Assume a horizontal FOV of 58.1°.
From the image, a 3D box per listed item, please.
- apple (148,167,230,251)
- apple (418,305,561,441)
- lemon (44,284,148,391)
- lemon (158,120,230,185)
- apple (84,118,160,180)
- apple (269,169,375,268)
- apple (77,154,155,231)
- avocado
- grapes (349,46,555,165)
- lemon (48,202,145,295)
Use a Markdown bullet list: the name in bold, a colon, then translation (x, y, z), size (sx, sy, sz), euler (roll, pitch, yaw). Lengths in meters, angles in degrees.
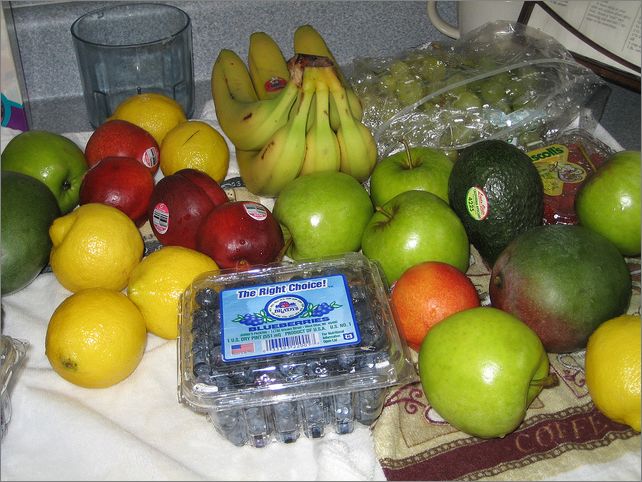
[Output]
- **apple**: translation (-0.258, -0.064, 1.136), size (0.133, 0.137, 0.154), euler (7, 62, -28)
- **apple**: translation (0.232, 0.191, 0.899), size (0.212, 0.193, 0.193), euler (21, 50, 18)
- **lemon**: translation (-0.360, 0.162, 1.007), size (0.145, 0.171, 0.162), euler (9, 53, 12)
- **lemon**: translation (-0.263, -0.190, 1.246), size (0.122, 0.130, 0.121), euler (-4, 10, 4)
- **apple**: translation (-0.410, -0.196, 1.243), size (0.130, 0.117, 0.110), euler (26, 89, 4)
- **apple**: translation (0.007, -0.050, 1.161), size (0.168, 0.169, 0.168), euler (-12, 39, 7)
- **apple**: translation (-0.407, -0.104, 1.174), size (0.153, 0.170, 0.167), euler (-9, 88, -21)
- **avocado**: translation (0.331, -0.092, 1.097), size (0.133, 0.254, 0.170), euler (-28, 39, -16)
- **grapes**: translation (0.298, -0.332, 1.343), size (0.384, 0.249, 0.283), euler (-6, 36, -8)
- **lemon**: translation (-0.398, 0.019, 1.018), size (0.106, 0.082, 0.152), euler (30, 38, 30)
